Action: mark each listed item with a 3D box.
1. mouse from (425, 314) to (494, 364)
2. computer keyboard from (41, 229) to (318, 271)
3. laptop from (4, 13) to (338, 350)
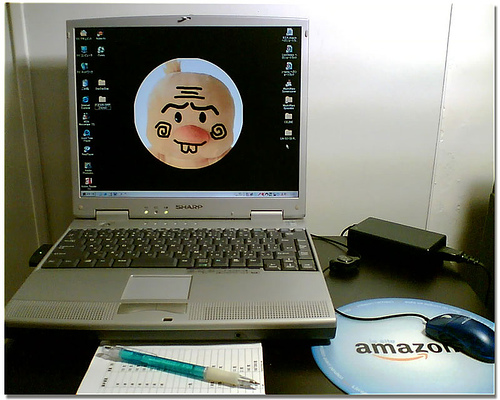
[{"bbox_3d":[0.319,0.205,0.634,0.087,0.052,0.028,29,-59,31],"label":"mouse"},{"bbox_3d":[-0.127,0.102,0.785,0.505,0.204,0.039,0,-70,-3],"label":"computer keyboard"},{"bbox_3d":[-0.129,-0.074,0.725,0.508,0.402,0.501,0,-71,-4],"label":"laptop"}]
